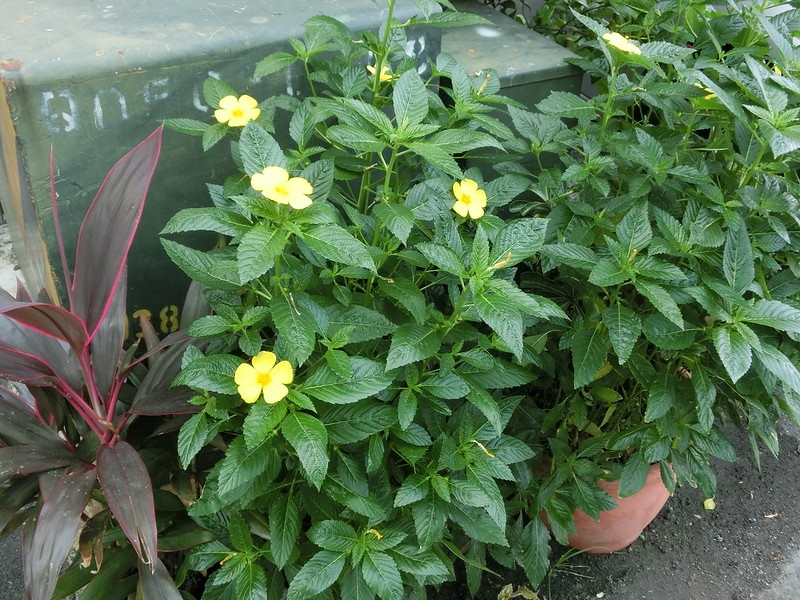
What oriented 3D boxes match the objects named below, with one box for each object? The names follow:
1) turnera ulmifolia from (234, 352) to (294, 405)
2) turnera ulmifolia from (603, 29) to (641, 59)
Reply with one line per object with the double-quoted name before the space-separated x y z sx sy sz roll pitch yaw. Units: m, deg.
"turnera ulmifolia" -0.353 0.207 1.500 0.143 0.124 0.107 10 43 -6
"turnera ulmifolia" 0.712 -0.819 1.859 0.132 0.035 0.199 20 41 8
